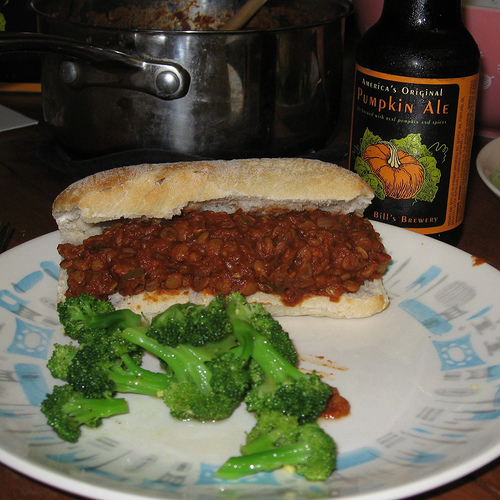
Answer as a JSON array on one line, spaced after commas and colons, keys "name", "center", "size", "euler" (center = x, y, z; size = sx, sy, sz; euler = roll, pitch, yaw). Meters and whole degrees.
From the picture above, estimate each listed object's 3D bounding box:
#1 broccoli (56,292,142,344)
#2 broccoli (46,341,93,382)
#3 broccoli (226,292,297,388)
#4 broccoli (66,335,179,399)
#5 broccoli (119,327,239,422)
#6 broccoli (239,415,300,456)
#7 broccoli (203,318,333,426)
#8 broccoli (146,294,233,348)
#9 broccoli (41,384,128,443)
[{"name": "broccoli", "center": [-0.521, 0.268, 1.936], "size": [0.288, 0.118, 0.202], "euler": [18, -1, -36]}, {"name": "broccoli", "center": [-0.616, 0.371, 1.696], "size": [0.137, 0.053, 0.121], "euler": [-34, 67, -16]}, {"name": "broccoli", "center": [-0.040, 0.317, 1.830], "size": [0.291, 0.105, 0.233], "euler": [50, 17, 16]}, {"name": "broccoli", "center": [-0.409, 0.414, 1.694], "size": [0.320, 0.138, 0.209], "euler": [14, 42, 5]}, {"name": "broccoli", "center": [-0.227, 0.413, 1.637], "size": [0.321, 0.103, 0.206], "euler": [36, 46, 27]}, {"name": "broccoli", "center": [0.058, 0.533, 1.473], "size": [0.151, 0.058, 0.085], "euler": [-29, 68, -12]}, {"name": "broccoli", "center": [0.057, 0.400, 1.627], "size": [0.405, 0.109, 0.257], "euler": [9, 32, 17]}, {"name": "broccoli", "center": [-0.222, 0.246, 1.801], "size": [0.324, 0.099, 0.223], "euler": [-2, 1, -22]}, {"name": "broccoli", "center": [-0.508, 0.485, 1.525], "size": [0.208, 0.090, 0.142], "euler": [2, 15, -18]}]
